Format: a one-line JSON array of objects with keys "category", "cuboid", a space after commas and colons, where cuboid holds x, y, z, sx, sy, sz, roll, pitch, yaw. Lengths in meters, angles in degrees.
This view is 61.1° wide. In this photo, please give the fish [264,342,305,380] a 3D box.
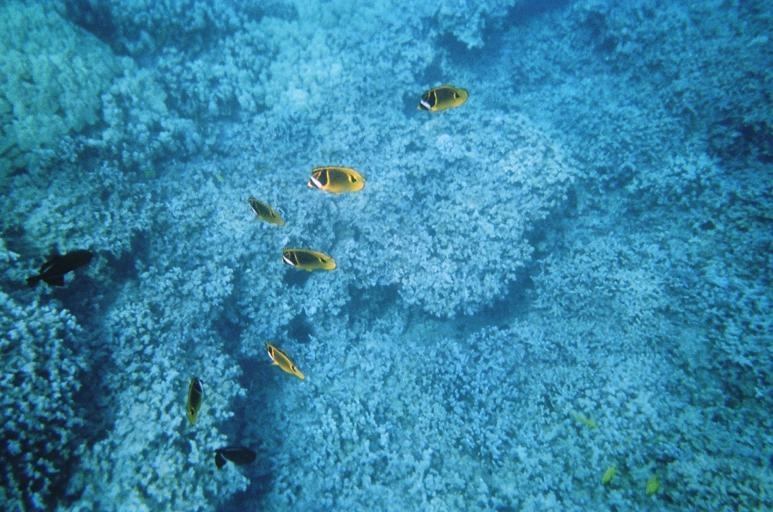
[{"category": "fish", "cuboid": [-1.825, 1.877, 11.933, 0.799, 0.436, 0.255, 48, 64, -2]}]

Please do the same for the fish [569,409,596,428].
[{"category": "fish", "cuboid": [3.743, 3.072, 12.480, 0.123, 0.245, 0.530, -21, 33, -39]}]

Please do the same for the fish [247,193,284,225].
[{"category": "fish", "cuboid": [-1.993, -0.781, 11.109, 0.686, 0.375, 0.151, 37, 24, -1]}]

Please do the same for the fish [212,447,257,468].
[{"category": "fish", "cuboid": [-2.421, 3.182, 10.547, 0.617, 0.147, 0.368, 3, 92, -27]}]

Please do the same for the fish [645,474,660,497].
[{"category": "fish", "cuboid": [4.746, 4.072, 11.706, 0.200, 0.114, 0.334, 29, 76, 19]}]
